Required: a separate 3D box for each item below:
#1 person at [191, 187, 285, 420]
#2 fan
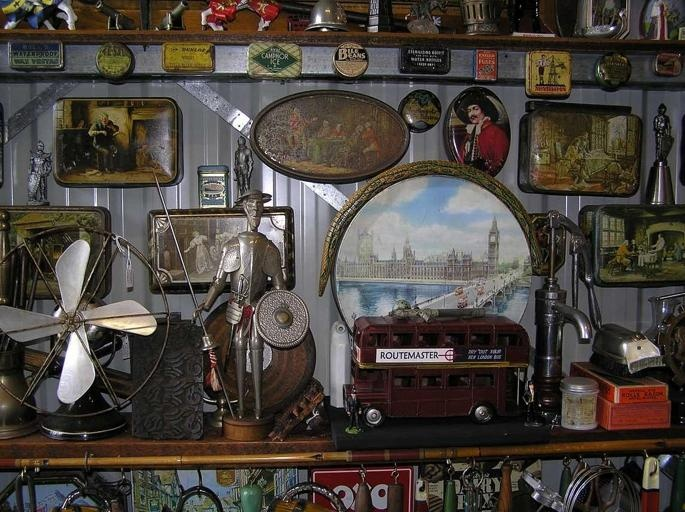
[{"bbox_3d":[-0.431,0.184,3.768,0.364,0.952,0.432,4,-22,-5],"label":"person"},{"bbox_3d":[-1.103,0.344,3.768,0.719,0.937,0.335,1,-6,-7],"label":"fan"}]
